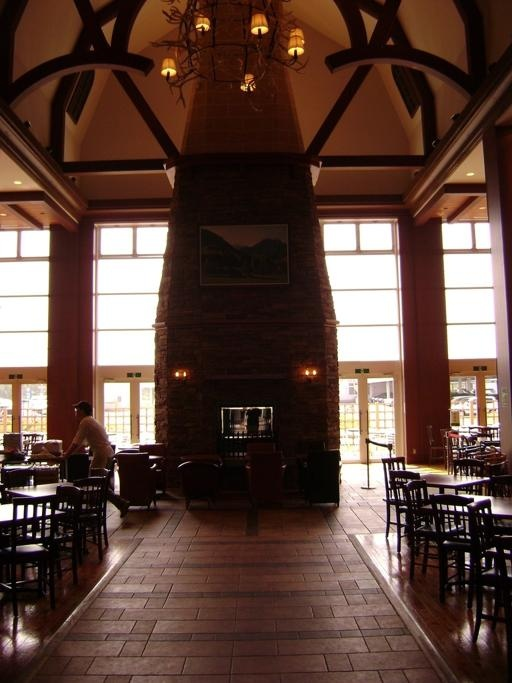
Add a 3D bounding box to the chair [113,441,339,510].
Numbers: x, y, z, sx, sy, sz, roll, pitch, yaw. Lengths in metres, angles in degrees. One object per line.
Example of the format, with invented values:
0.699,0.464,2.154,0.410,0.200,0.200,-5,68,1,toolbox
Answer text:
-0.089,1.985,8.347,2.641,0.843,1.613,-1,-6,5,chair
